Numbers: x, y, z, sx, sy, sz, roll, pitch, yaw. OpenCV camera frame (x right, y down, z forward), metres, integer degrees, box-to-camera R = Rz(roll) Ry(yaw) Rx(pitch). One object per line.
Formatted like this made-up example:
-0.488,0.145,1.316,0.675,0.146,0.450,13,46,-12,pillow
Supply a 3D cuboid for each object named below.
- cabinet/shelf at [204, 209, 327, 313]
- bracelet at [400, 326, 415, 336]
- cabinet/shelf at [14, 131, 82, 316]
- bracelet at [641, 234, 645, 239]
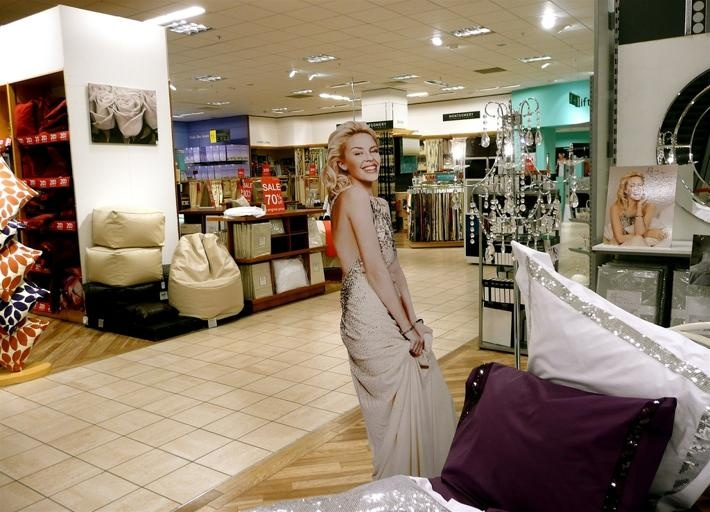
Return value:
-1.134,0.071,7.094,0.635,1.217,1.553,4,9,35,cabinet/shelf
0.268,0.387,2.460,0.082,0.032,0.027,-39,25,26,bracelet
-3.980,-0.375,6.257,1.270,2.400,0.483,7,13,42,cabinet/shelf
1.693,-0.118,2.798,0.023,0.023,0.024,3,5,25,bracelet
